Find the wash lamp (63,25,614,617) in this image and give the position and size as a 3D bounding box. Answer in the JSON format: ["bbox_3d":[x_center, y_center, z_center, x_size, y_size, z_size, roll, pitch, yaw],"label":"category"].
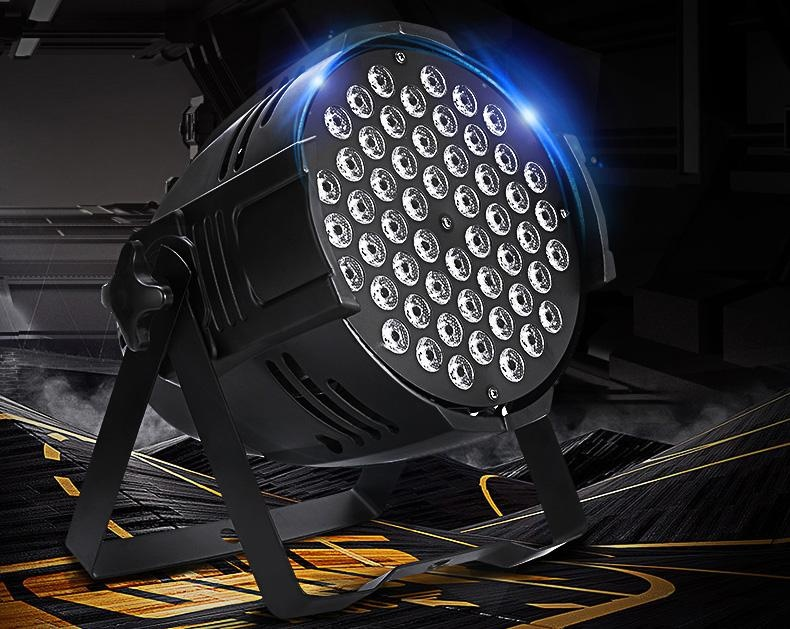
[{"bbox_3d":[-0.140,-0.043,1.675,1.277,1.169,1.266,-5,11,-12],"label":"wash lamp"}]
